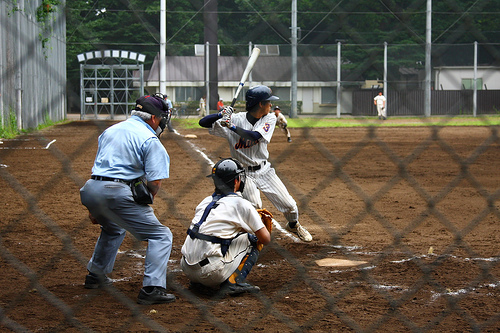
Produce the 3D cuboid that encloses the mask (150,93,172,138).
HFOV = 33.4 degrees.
[{"bbox_3d":[-2.125,-1.209,19.844,0.441,1.045,0.709,2,6,-5],"label":"mask"}]

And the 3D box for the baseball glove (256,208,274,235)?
[{"bbox_3d":[0.374,1.294,19.905,0.224,0.474,0.510,-9,6,-13],"label":"baseball glove"}]

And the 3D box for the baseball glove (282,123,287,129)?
[{"bbox_3d":[1.377,-1.671,34.389,0.263,0.224,0.241,0,0,-2],"label":"baseball glove"}]
